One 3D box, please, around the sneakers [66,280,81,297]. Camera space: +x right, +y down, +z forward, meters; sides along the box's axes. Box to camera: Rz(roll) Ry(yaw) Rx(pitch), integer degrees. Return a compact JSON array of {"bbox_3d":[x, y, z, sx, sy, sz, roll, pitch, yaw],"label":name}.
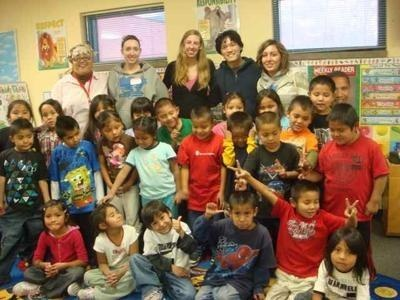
[{"bbox_3d":[-1.038,1.134,2.978,0.094,0.113,0.114,12,0,33],"label":"sneakers"}]
